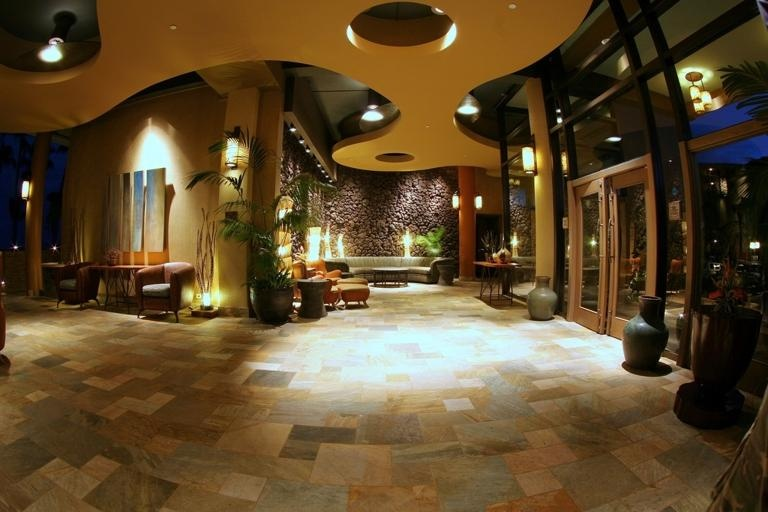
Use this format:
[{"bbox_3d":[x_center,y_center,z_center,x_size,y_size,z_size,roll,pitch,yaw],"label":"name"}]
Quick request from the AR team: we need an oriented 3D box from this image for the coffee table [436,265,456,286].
[{"bbox_3d":[1.751,0.536,12.602,0.531,0.492,0.500,0,-2,4],"label":"coffee table"}]

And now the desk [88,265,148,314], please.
[{"bbox_3d":[-5.413,0.630,9.031,0.912,1.175,1.640,4,-6,-43],"label":"desk"}]

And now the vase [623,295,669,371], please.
[{"bbox_3d":[3.418,0.990,5.752,0.479,0.930,0.289,-1,8,-11],"label":"vase"}]

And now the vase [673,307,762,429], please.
[{"bbox_3d":[3.729,1.179,4.941,0.910,1.302,0.517,-5,10,-36],"label":"vase"}]

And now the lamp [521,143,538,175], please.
[{"bbox_3d":[2.737,-1.793,8.315,0.240,0.528,0.269,2,8,12],"label":"lamp"}]

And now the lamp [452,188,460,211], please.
[{"bbox_3d":[2.120,-1.642,12.899,0.183,0.520,0.469,3,8,16],"label":"lamp"}]

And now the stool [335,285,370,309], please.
[{"bbox_3d":[-0.639,0.790,8.913,0.481,0.307,0.475,-1,2,-18],"label":"stool"}]

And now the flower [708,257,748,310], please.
[{"bbox_3d":[3.838,0.343,5.185,0.506,0.559,0.506,-2,-4,16],"label":"flower"}]

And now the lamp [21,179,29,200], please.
[{"bbox_3d":[-7.784,-1.434,9.557,0.158,0.431,0.168,-7,11,-42],"label":"lamp"}]

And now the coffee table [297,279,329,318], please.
[{"bbox_3d":[-1.202,0.770,8.099,0.655,0.713,0.624,1,-5,-6],"label":"coffee table"}]

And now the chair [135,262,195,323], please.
[{"bbox_3d":[-4.076,0.689,8.057,1.081,1.143,0.963,-1,-5,8],"label":"chair"}]

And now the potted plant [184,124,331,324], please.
[{"bbox_3d":[-2.111,-0.274,7.899,2.017,3.020,2.511,-7,-13,10],"label":"potted plant"}]

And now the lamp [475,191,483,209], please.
[{"bbox_3d":[2.782,-1.627,13.019,0.150,0.421,0.650,3,8,19],"label":"lamp"}]

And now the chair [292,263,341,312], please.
[{"bbox_3d":[-1.451,0.639,8.441,0.933,1.067,0.889,0,-2,17],"label":"chair"}]
